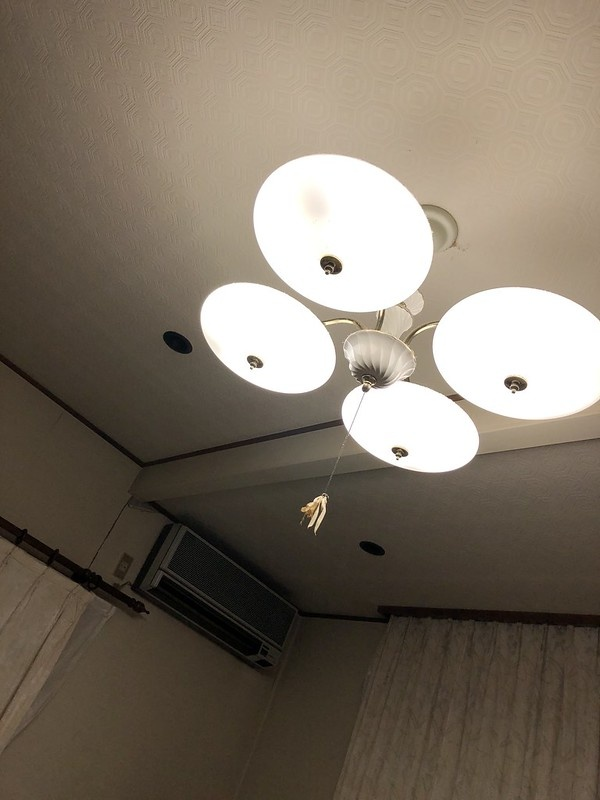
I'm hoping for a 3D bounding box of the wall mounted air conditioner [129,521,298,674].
[{"bbox_3d":[-0.502,1.205,3.712,0.291,0.496,1.086,-6,-41,46],"label":"wall mounted air conditioner"}]
